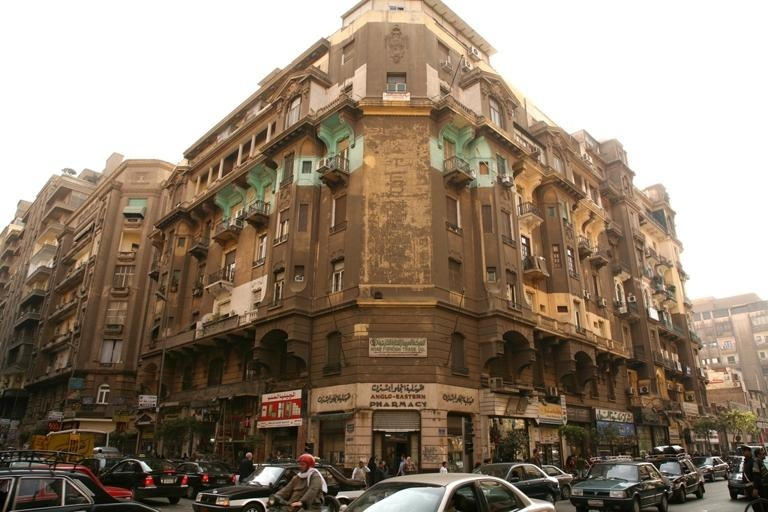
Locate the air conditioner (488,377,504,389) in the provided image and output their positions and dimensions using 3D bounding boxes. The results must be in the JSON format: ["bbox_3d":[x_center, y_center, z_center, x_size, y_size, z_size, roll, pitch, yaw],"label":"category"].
[{"bbox_3d":[7.668,8.755,37.812,0.807,0.713,0.753,4,-7,-14],"label":"air conditioner"}]

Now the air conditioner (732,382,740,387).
[{"bbox_3d":[59.387,21.799,93.097,0.914,0.552,0.464,8,-30,-17],"label":"air conditioner"}]

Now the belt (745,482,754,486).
[{"bbox_3d":[14.878,9.361,22.520,0.175,0.202,0.297,4,-25,-10],"label":"belt"}]

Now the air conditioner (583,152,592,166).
[{"bbox_3d":[21.340,-10.083,58.048,0.409,0.885,2.065,-20,-20,36],"label":"air conditioner"}]
